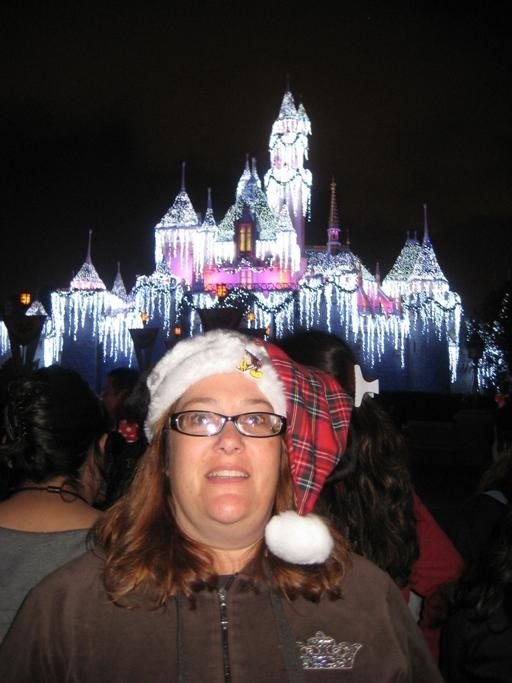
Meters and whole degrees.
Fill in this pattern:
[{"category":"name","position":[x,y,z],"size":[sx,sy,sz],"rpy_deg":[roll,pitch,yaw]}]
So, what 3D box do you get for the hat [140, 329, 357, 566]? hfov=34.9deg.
[{"category":"hat","position":[0.028,0.347,3.130],"size":[0.701,0.865,0.379],"rpy_deg":[-2,-5,0]}]
